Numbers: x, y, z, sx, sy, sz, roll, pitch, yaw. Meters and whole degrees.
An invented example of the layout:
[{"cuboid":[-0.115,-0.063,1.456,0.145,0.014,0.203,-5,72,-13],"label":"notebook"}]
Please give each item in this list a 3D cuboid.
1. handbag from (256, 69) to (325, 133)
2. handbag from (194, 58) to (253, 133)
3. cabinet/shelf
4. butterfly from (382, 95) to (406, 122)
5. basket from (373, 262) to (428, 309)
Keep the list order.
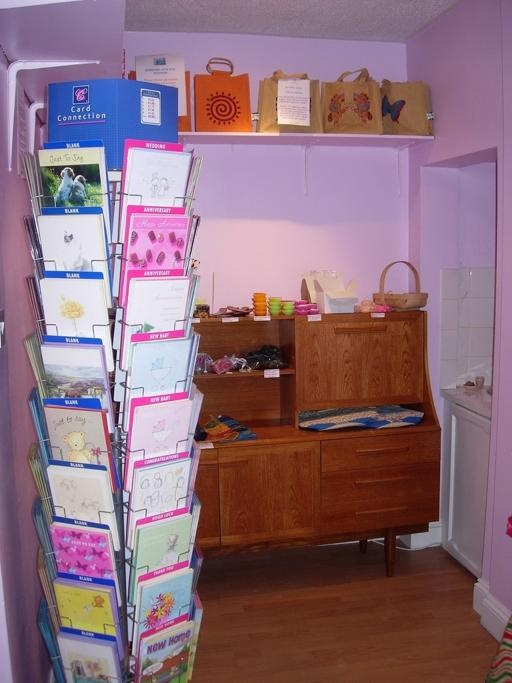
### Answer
[{"cuboid":[0.186,-1.266,2.918,0.327,0.303,0.117,-3,23,-8],"label":"handbag"},{"cuboid":[-0.182,-1.260,2.880,0.297,0.386,0.142,-4,9,-10],"label":"handbag"},{"cuboid":[0.317,0.534,2.904,1.497,1.399,0.532,-1,3,-10],"label":"cabinet/shelf"},{"cuboid":[0.770,-1.292,3.039,0.163,0.167,0.029,0,0,8],"label":"butterfly"},{"cuboid":[0.875,-0.327,3.131,0.321,0.326,0.313,-2,4,-18],"label":"basket"}]
